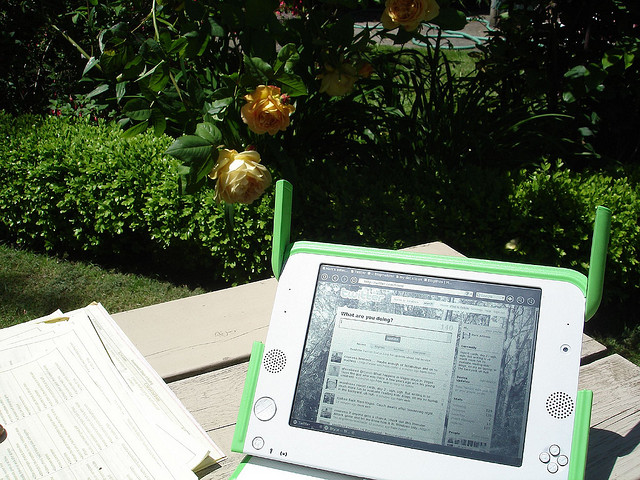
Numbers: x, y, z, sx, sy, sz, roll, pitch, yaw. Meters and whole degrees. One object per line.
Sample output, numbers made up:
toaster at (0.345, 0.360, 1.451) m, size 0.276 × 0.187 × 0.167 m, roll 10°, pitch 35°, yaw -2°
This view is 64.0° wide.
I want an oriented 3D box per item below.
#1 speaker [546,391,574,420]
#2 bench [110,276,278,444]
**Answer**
speaker at (0.479, 0.329, 1.023) m, size 0.053 × 0.045 × 0.026 m, roll 0°, pitch 23°, yaw -6°
bench at (-0.329, 0.295, 1.476) m, size 0.348 × 0.134 × 0.539 m, roll 36°, pitch 44°, yaw 20°
